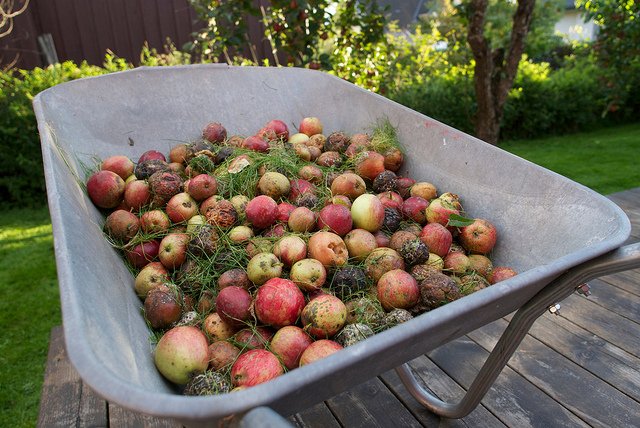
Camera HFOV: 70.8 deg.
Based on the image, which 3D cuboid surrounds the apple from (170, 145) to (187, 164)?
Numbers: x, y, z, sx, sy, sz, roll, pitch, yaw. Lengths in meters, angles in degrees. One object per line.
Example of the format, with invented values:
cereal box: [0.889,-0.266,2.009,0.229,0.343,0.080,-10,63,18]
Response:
apple: [-0.767,-0.329,2.451,0.095,0.080,0.074,8,29,26]

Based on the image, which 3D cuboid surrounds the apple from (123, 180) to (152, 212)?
apple: [-0.876,-0.094,2.191,0.131,0.173,0.135,4,6,-22]

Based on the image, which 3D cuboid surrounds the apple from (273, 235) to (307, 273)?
apple: [-0.141,0.160,2.118,0.135,0.169,0.144,22,-13,3]

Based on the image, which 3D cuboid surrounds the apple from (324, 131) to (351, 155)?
apple: [0.090,-0.421,2.644,0.126,0.136,0.153,11,27,-19]

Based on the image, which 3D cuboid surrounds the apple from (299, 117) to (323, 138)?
apple: [-0.065,-0.550,2.813,0.121,0.158,0.125,-12,19,0]

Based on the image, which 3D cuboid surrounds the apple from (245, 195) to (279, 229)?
apple: [-0.274,-0.011,2.131,0.134,0.148,0.166,2,0,-2]

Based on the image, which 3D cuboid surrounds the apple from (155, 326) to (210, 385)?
apple: [-0.565,0.601,1.862,0.194,0.233,0.204,19,6,-37]

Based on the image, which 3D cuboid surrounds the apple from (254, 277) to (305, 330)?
apple: [-0.151,0.407,1.998,0.195,0.239,0.200,-4,-27,33]

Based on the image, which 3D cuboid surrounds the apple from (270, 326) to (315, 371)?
apple: [-0.102,0.552,1.969,0.154,0.170,0.184,-27,50,-25]

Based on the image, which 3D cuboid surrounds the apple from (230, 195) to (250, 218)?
apple: [-0.386,-0.034,2.194,0.089,0.096,0.094,-4,-6,5]

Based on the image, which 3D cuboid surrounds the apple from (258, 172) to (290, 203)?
apple: [-0.239,-0.156,2.337,0.120,0.120,0.147,39,-9,-35]

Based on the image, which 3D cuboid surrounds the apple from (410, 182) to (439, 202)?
apple: [0.542,-0.120,2.348,0.106,0.090,0.088,17,3,17]

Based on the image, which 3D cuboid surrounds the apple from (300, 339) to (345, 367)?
apple: [0.005,0.558,1.842,0.129,0.123,0.118,-3,18,-23]

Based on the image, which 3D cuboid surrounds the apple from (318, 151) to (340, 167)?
apple: [0.042,-0.320,2.528,0.073,0.081,0.100,-4,21,5]

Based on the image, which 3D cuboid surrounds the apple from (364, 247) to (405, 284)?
apple: [0.317,0.221,2.143,0.180,0.168,0.161,-15,8,25]

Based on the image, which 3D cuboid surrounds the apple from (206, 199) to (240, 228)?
apple: [-0.486,0.002,2.191,0.165,0.118,0.210,2,29,-12]

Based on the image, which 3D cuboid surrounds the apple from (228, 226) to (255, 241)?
apple: [-0.373,0.093,2.113,0.089,0.079,0.076,-7,-11,-7]

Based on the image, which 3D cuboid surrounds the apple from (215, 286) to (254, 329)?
apple: [-0.365,0.412,1.935,0.151,0.169,0.097,-2,26,-8]

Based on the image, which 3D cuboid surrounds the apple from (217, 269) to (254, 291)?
apple: [-0.380,0.288,1.993,0.112,0.072,0.088,8,38,11]

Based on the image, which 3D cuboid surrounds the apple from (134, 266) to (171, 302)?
apple: [-0.758,0.317,2.085,0.133,0.140,0.162,21,40,-35]

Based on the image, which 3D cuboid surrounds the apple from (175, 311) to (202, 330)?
apple: [-0.554,0.458,1.927,0.079,0.033,0.062,10,50,6]

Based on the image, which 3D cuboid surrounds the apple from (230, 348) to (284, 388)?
apple: [-0.269,0.638,1.868,0.149,0.179,0.150,12,3,-18]

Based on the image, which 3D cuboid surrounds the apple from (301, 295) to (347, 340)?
apple: [-0.008,0.456,2.003,0.209,0.183,0.174,-21,-15,-10]

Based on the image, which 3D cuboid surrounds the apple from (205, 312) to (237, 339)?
apple: [-0.434,0.496,1.980,0.094,0.118,0.100,-7,-17,9]

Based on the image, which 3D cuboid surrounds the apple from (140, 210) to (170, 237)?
apple: [-0.780,0.027,2.135,0.109,0.120,0.113,-4,55,-14]

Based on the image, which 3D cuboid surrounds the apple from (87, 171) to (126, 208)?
apple: [-1.036,-0.127,2.191,0.165,0.214,0.175,-3,38,-17]

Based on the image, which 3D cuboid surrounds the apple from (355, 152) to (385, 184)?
apple: [0.259,-0.268,2.513,0.159,0.169,0.149,4,0,-35]

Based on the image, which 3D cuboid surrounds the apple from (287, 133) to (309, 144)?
apple: [-0.127,-0.439,2.678,0.094,0.057,0.072,-5,6,34]

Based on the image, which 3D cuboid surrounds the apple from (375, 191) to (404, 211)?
apple: [0.365,-0.052,2.354,0.106,0.132,0.102,0,31,-34]

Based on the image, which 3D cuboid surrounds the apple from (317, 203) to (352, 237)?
apple: [0.080,0.023,2.216,0.138,0.159,0.149,3,9,27]

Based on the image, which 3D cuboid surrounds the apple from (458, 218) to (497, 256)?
apple: [0.762,0.108,2.253,0.208,0.219,0.217,8,-2,21]

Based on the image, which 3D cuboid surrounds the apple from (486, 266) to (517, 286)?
apple: [0.824,0.280,2.059,0.091,0.072,0.122,-6,5,1]

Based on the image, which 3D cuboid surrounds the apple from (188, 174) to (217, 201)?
apple: [-0.593,-0.113,2.264,0.117,0.144,0.145,17,-21,-29]

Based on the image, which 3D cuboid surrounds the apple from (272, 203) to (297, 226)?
apple: [-0.173,-0.006,2.255,0.092,0.110,0.090,34,66,12]

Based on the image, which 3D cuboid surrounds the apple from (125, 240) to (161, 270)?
apple: [-0.800,0.181,2.115,0.121,0.133,0.122,-19,31,23]

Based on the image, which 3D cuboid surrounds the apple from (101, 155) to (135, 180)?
apple: [-1.019,-0.241,2.305,0.139,0.117,0.109,-1,17,-8]

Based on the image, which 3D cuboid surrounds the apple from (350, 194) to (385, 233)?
apple: [0.241,0.007,2.264,0.166,0.208,0.169,14,-18,-9]

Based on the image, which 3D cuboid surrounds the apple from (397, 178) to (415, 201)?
apple: [0.458,-0.136,2.481,0.097,0.127,0.101,9,4,8]

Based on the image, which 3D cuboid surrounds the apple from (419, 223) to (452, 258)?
apple: [0.569,0.108,2.190,0.138,0.177,0.143,-13,39,-13]

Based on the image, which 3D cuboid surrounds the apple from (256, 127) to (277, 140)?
apple: [-0.308,-0.476,2.654,0.079,0.105,0.083,-9,11,16]

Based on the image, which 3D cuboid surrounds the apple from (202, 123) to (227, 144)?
apple: [-0.591,-0.445,2.553,0.109,0.143,0.114,2,1,27]

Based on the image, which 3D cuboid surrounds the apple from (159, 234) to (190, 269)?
apple: [-0.674,0.178,2.153,0.135,0.140,0.149,0,-28,11]

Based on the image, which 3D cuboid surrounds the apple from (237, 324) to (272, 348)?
apple: [-0.286,0.524,1.914,0.122,0.109,0.103,18,7,-13]

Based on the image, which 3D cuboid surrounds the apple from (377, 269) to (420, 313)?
apple: [0.348,0.352,2.012,0.187,0.161,0.109,5,26,6]

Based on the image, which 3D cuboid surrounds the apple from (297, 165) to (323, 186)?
apple: [-0.050,-0.223,2.471,0.103,0.094,0.094,21,-13,39]

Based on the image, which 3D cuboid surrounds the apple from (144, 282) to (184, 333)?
apple: [-0.648,0.390,1.944,0.153,0.200,0.167,0,17,-15]

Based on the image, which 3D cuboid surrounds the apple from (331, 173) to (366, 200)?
apple: [0.148,-0.141,2.323,0.167,0.146,0.137,-18,-5,40]

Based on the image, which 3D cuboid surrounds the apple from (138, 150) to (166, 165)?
apple: [-0.897,-0.312,2.404,0.096,0.106,0.099,-6,-2,-3]

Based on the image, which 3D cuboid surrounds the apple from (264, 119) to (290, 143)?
apple: [-0.252,-0.516,2.715,0.120,0.157,0.127,-7,-10,8]

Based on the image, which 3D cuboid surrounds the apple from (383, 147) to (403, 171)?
apple: [0.404,-0.305,2.556,0.106,0.115,0.109,-15,49,7]

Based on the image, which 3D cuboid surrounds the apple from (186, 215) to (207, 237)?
apple: [-0.584,0.044,2.161,0.074,0.095,0.077,14,53,0]

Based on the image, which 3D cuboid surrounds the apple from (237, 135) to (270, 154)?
apple: [-0.360,-0.363,2.477,0.135,0.080,0.107,4,-22,-31]

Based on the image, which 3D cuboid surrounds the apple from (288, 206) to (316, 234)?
apple: [-0.098,0.037,2.200,0.126,0.148,0.128,17,-2,-8]

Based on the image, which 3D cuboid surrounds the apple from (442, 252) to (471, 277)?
apple: [0.657,0.218,2.161,0.116,0.105,0.101,1,39,38]

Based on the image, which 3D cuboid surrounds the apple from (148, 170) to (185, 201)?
apple: [-0.743,-0.140,2.181,0.124,0.133,0.153,-3,4,-7]
